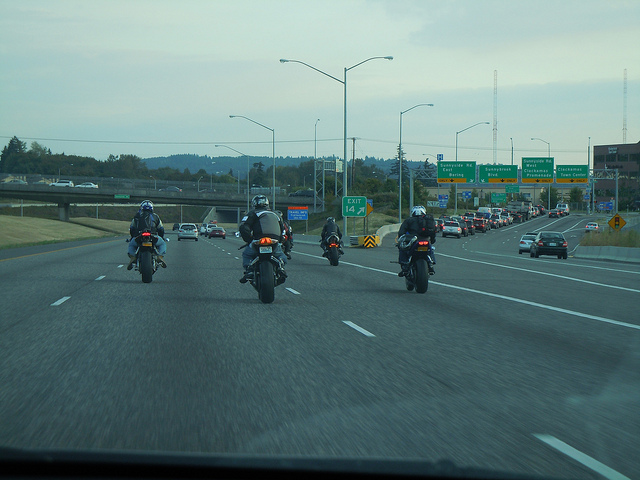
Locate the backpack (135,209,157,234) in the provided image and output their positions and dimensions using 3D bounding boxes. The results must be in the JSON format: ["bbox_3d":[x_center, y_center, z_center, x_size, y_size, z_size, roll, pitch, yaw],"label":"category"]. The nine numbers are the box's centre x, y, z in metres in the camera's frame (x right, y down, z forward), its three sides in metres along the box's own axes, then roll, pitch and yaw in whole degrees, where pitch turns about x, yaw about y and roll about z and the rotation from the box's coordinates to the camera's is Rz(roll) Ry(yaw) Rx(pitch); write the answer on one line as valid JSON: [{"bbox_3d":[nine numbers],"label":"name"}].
[{"bbox_3d":[-4.675,-0.511,19.850,0.722,0.917,0.486,-1,-2,-4],"label":"backpack"}]

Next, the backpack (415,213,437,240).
[{"bbox_3d":[2.434,-0.315,16.852,0.418,0.639,0.589,3,1,0],"label":"backpack"}]

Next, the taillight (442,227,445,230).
[{"bbox_3d":[12.694,-1.209,75.496,0.256,0.250,0.263,7,-17,-9],"label":"taillight"}]

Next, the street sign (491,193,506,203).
[{"bbox_3d":[35.065,-8.410,144.882,2.153,1.320,0.296,-4,16,-11],"label":"street sign"}]

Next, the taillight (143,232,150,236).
[{"bbox_3d":[-4.592,-0.152,19.464,0.170,0.082,0.023,0,7,4],"label":"taillight"}]

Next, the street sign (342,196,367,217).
[{"bbox_3d":[2.396,-2.347,51.491,1.373,1.172,0.092,-6,11,-27],"label":"street sign"}]

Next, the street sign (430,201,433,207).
[{"bbox_3d":[14.521,-4.685,95.509,0.356,0.708,0.689,-1,5,-1],"label":"street sign"}]

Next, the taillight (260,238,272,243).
[{"bbox_3d":[-1.085,0.013,14.787,0.188,0.090,0.063,-1,7,-5],"label":"taillight"}]

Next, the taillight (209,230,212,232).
[{"bbox_3d":[-10.908,-0.902,73.476,0.352,0.190,0.341,-5,0,-30],"label":"taillight"}]

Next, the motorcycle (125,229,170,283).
[{"bbox_3d":[-4.629,0.425,19.943,0.711,1.493,0.882,-3,7,-14],"label":"motorcycle"}]

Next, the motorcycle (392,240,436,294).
[{"bbox_3d":[2.223,0.586,16.916,0.534,1.262,0.927,-3,7,-21],"label":"motorcycle"}]

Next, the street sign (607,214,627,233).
[{"bbox_3d":[16.220,-0.944,40.341,0.744,0.970,1.555,2,8,20],"label":"street sign"}]

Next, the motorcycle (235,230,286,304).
[{"bbox_3d":[-1.130,0.608,15.136,0.802,1.491,0.753,-1,7,-3],"label":"motorcycle"}]

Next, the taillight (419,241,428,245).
[{"bbox_3d":[2.309,0.068,16.445,0.171,0.068,0.064,-3,7,-15],"label":"taillight"}]

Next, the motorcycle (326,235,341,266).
[{"bbox_3d":[0.498,0.384,27.608,0.530,1.242,0.869,0,7,3],"label":"motorcycle"}]

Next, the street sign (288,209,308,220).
[{"bbox_3d":[-2.492,-2.856,81.334,1.494,0.924,0.034,1,0,4],"label":"street sign"}]

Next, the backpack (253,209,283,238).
[{"bbox_3d":[-1.089,-0.321,15.095,0.491,0.304,0.552,3,44,-17],"label":"backpack"}]
